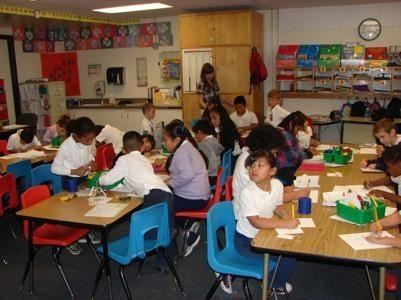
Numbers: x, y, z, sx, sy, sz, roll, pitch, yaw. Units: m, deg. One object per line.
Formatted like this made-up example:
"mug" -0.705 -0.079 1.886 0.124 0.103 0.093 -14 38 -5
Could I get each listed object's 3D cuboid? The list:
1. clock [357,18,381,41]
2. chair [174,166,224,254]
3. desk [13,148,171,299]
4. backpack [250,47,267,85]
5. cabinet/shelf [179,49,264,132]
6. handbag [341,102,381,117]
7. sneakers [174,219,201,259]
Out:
"clock" 3.665 -2.604 7.010 0.461 0.487 0.049 -8 -3 22
"chair" 0.053 0.512 3.565 0.566 0.870 0.515 2 5 4
"desk" -1.055 0.527 2.915 0.851 0.607 1.160 6 12 20
"backpack" 1.250 -1.843 7.172 0.428 0.811 0.229 -12 16 -38
"cabinet/shelf" 0.473 -1.318 6.754 2.073 2.207 0.748 0 2 18
"handbag" 3.493 -0.874 7.061 0.631 0.242 0.401 2 7 14
"sneakers" -0.138 0.975 3.620 0.167 0.197 0.504 -41 -1 12
